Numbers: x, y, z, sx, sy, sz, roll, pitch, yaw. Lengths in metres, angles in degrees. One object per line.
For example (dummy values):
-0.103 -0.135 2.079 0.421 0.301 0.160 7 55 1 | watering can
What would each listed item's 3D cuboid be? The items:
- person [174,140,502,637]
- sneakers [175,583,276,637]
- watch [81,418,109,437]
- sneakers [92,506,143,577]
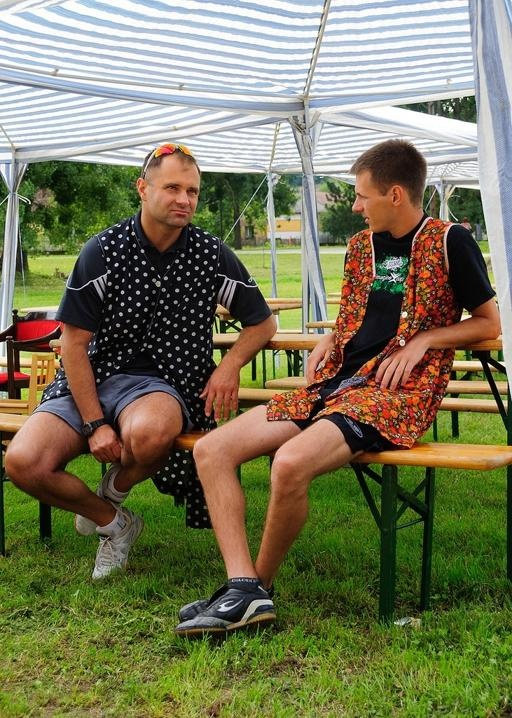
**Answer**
0.330 0.011 2.704 1.316 1.781 0.670 -3 2 -16 | person
-0.102 0.845 2.363 0.242 0.084 0.257 0 -12 -6 | sneakers
-0.695 0.289 3.020 0.114 0.055 0.096 -14 -15 6 | watch
-0.612 0.836 3.137 0.139 0.356 0.178 16 -3 30 | sneakers
